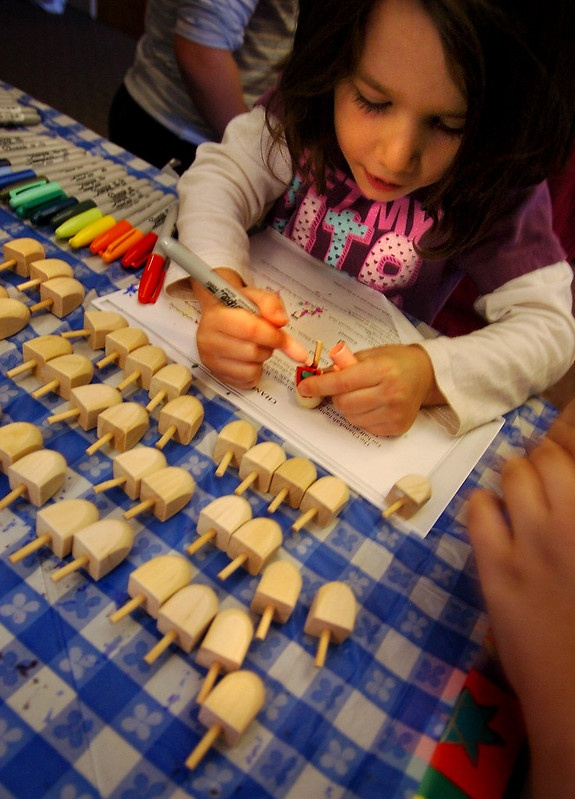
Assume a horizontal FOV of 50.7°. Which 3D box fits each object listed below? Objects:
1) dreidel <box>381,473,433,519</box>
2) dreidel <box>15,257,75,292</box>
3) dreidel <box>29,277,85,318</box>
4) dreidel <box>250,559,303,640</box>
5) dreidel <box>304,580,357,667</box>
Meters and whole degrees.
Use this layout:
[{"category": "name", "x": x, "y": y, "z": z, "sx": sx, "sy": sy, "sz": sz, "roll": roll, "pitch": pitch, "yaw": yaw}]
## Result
[{"category": "dreidel", "x": 0.141, "y": 0.123, "z": 0.768, "sx": 0.065, "sy": 0.048, "sz": 0.065, "roll": 8, "pitch": 30, "yaw": 32}, {"category": "dreidel", "x": -0.352, "y": -0.186, "z": 0.883, "sx": 0.068, "sy": 0.030, "sz": 0.047, "roll": -23, "pitch": 42, "yaw": -35}, {"category": "dreidel", "x": -0.320, "y": -0.145, "z": 0.856, "sx": 0.044, "sy": 0.037, "sz": 0.078, "roll": 30, "pitch": 41, "yaw": 34}, {"category": "dreidel", "x": -0.002, "y": 0.211, "z": 0.635, "sx": 0.061, "sy": 0.060, "sz": 0.065, "roll": 6, "pitch": 30, "yaw": 1}, {"category": "dreidel", "x": 0.042, "y": 0.224, "z": 0.609, "sx": 0.046, "sy": 0.028, "sz": 0.092, "roll": 24, "pitch": 40, "yaw": -3}]
